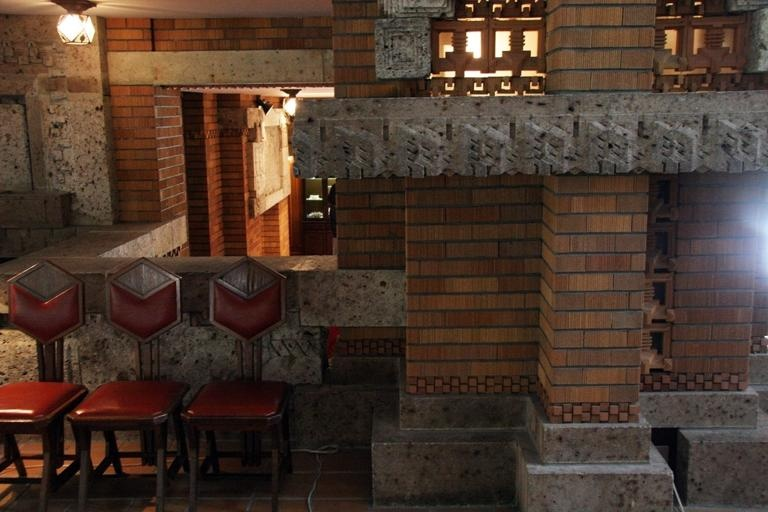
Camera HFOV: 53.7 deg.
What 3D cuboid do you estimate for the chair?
[{"bbox_3d":[-1.762,1.012,5.986,2.439,1.519,0.859,0,4,-2],"label":"chair"}]
